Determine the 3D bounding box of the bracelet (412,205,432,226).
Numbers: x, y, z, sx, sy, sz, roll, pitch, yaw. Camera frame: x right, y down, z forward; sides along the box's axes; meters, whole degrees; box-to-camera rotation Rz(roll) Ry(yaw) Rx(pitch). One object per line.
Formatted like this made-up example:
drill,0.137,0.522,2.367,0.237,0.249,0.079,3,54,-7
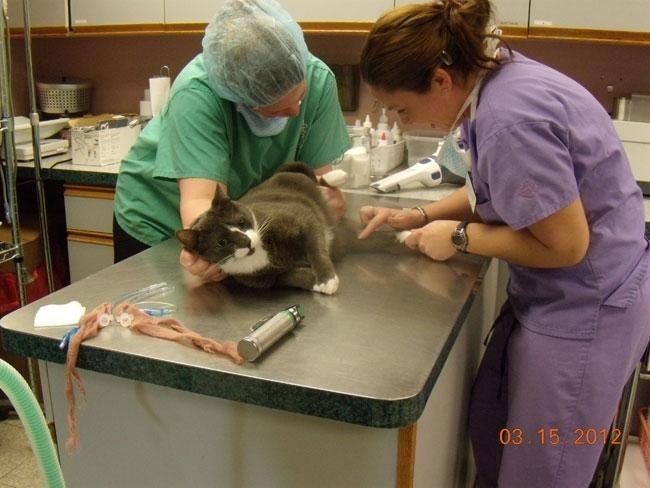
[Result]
bracelet,0.275,-0.082,1.567,0.017,0.042,0.046,-31,44,-8

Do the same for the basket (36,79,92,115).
basket,-1.514,-0.872,3.233,0.280,0.188,0.286,-10,22,-29

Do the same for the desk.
desk,-1.216,-0.377,2.616,0.381,0.188,0.606,-10,18,-35

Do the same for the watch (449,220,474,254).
watch,0.341,-0.015,1.346,0.045,0.077,0.063,12,20,41

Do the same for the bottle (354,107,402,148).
bottle,0.246,-0.520,2.618,0.225,0.246,0.244,-1,8,2
